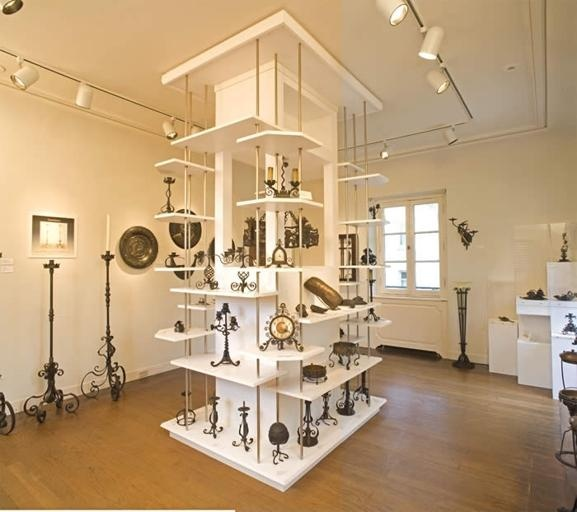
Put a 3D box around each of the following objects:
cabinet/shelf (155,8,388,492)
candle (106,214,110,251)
[{"bbox_3d":[-0.118,-0.834,4.494,1.173,2.922,1.656,-7,17,43],"label":"cabinet/shelf"},{"bbox_3d":[-2.119,-0.260,5.318,0.054,0.412,0.457,-2,6,-22],"label":"candle"}]
